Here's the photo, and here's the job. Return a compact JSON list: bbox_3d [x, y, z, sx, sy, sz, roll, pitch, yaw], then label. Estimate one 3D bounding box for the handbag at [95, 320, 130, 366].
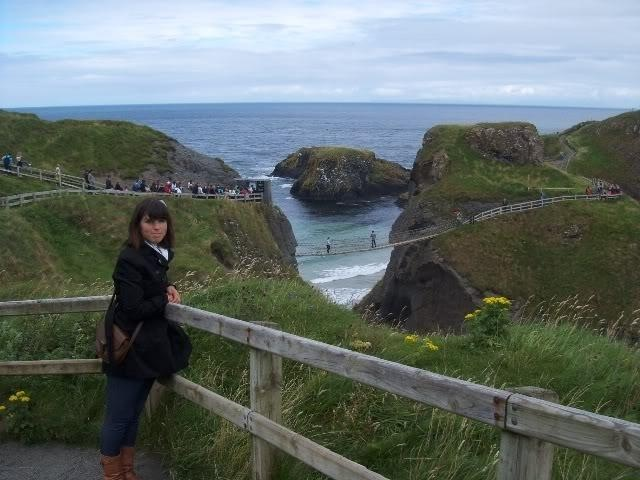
[{"bbox_3d":[-1.862,0.892,4.778,0.396,0.265,0.134,20,14,27],"label":"handbag"}]
